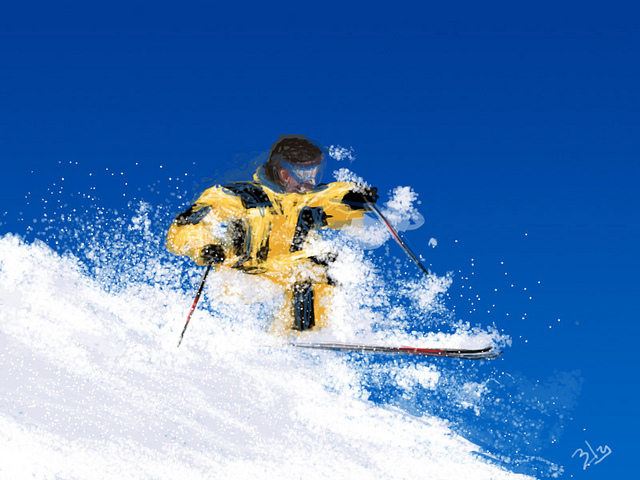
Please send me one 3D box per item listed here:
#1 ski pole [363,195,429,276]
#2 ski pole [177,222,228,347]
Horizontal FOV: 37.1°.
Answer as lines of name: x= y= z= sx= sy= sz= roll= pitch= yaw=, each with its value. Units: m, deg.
ski pole: x=0.579 y=-0.141 z=7.711 sx=0.844 sy=0.062 sz=0.090 roll=52 pitch=28 yaw=-6
ski pole: x=-1.030 y=0.338 z=8.343 sx=0.081 sy=1.212 sz=0.066 roll=29 pitch=9 yaw=31
